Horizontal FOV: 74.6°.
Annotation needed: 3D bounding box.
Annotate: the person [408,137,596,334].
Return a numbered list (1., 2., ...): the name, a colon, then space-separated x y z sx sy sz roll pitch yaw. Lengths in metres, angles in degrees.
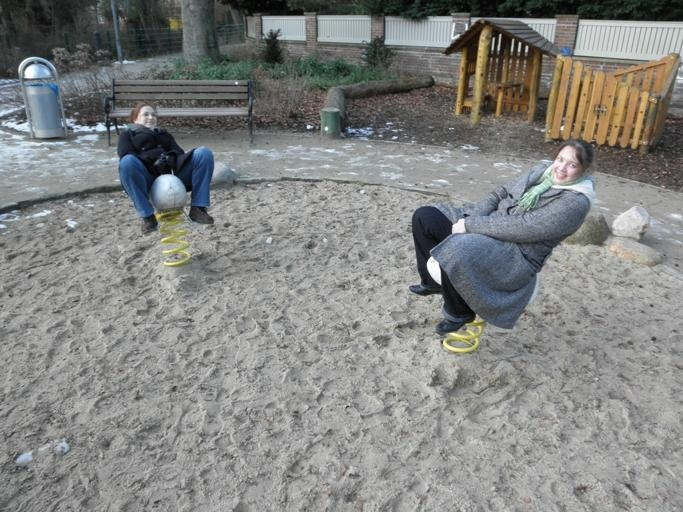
1. person: 1.072 -0.171 3.245 1.370 1.175 0.950 -8 31 -19

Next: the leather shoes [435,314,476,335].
1. leather shoes: 0.819 0.502 3.294 0.290 0.092 0.131 -15 11 0

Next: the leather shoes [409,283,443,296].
1. leather shoes: 0.646 0.260 3.629 0.310 0.102 0.099 6 30 26

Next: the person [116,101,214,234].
1. person: -1.774 -0.921 4.593 0.870 1.178 0.962 -7 30 -12
